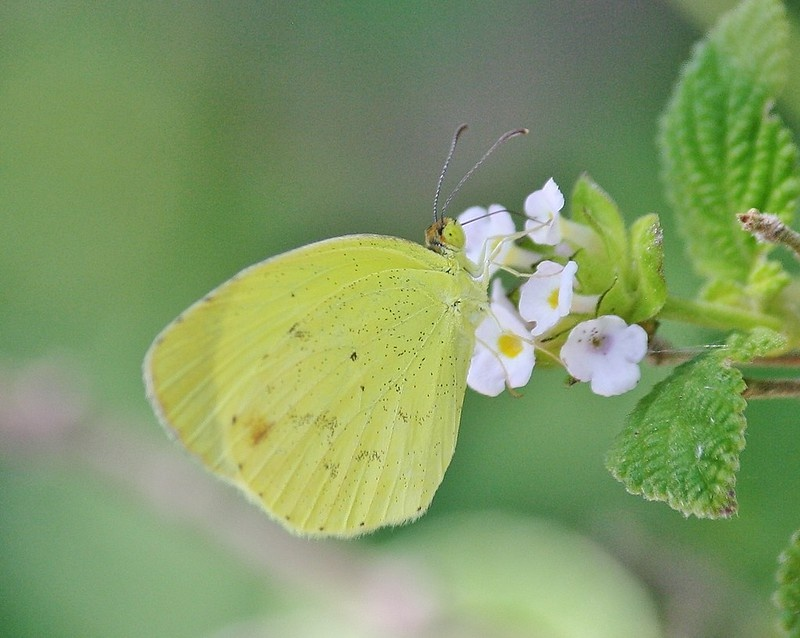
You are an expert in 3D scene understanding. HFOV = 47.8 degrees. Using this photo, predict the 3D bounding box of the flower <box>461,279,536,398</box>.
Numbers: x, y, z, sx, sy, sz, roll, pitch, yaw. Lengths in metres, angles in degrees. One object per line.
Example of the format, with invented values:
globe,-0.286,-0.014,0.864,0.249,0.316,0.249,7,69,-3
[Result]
flower,0.228,0.055,1.995,0.092,0.182,0.215,-1,-90,-22

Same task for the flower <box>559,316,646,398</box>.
flower,0.398,0.076,1.771,0.137,0.070,0.163,41,-65,13

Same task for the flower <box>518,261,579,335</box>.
flower,0.298,-0.036,1.821,0.052,0.120,0.140,3,-58,-35

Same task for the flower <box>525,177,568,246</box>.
flower,0.304,-0.223,1.888,0.055,0.115,0.135,0,-87,-32
